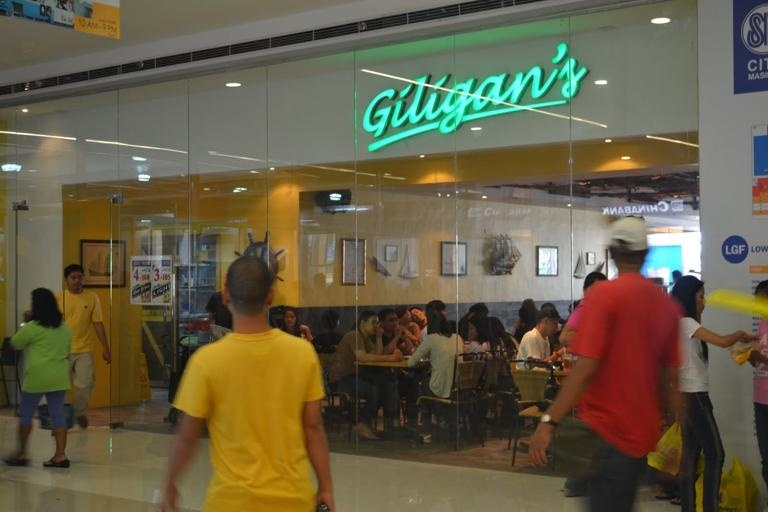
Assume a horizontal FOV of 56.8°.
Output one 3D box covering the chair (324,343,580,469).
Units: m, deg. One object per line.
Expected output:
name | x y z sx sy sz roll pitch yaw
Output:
chair | 0.768 1.540 7.254 1.602 0.799 1.105 -6 -12 37

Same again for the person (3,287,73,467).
person | -4.129 1.483 8.565 0.620 1.921 0.722 0 0 -25

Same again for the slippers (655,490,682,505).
slippers | 2.729 2.310 6.797 0.216 0.092 0.102 1 -1 -21

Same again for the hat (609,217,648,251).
hat | 1.704 -0.146 4.922 0.234 0.227 0.237 3 3 38

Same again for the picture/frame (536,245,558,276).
picture/frame | 1.694 0.061 7.287 0.298 0.407 0.040 -1 -4 26
